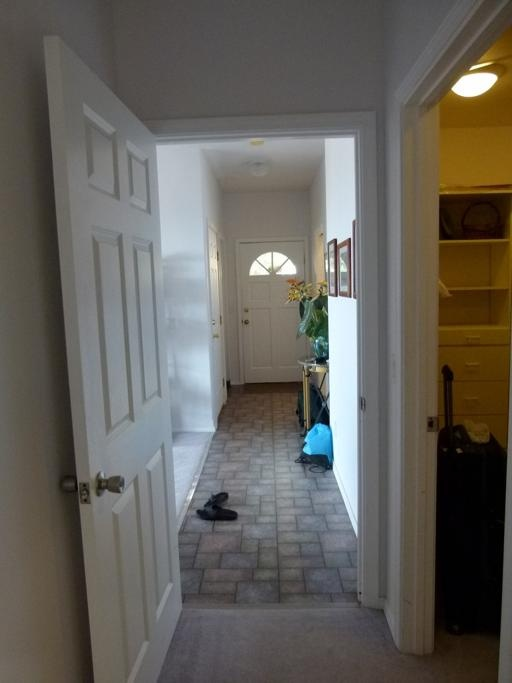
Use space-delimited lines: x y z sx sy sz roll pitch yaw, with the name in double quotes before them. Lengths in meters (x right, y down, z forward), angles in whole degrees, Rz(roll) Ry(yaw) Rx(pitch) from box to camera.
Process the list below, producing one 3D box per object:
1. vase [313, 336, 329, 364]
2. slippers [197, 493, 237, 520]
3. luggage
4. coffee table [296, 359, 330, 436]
"vase" 0.500 0.059 4.033 0.140 0.296 0.157 0 3 8
"slippers" -0.226 0.941 2.992 0.229 0.053 0.329 -3 7 -7
"luggage" 0.799 0.585 1.986 0.227 0.951 0.357 1 7 22
"coffee table" 0.450 0.417 4.209 0.371 0.585 0.490 0 -1 3
